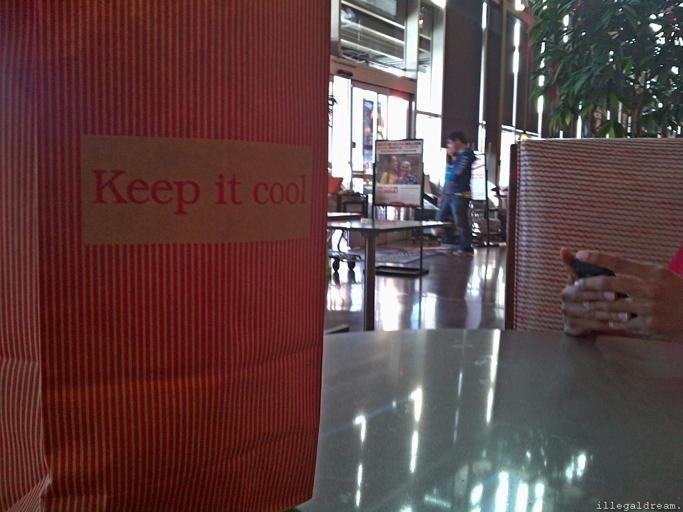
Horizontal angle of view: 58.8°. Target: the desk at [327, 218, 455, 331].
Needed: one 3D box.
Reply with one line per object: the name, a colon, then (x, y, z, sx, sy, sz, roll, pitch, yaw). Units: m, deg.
desk: (0.327, 0.113, 3.078, 0.302, 0.298, 0.576, -8, 26, -11)
